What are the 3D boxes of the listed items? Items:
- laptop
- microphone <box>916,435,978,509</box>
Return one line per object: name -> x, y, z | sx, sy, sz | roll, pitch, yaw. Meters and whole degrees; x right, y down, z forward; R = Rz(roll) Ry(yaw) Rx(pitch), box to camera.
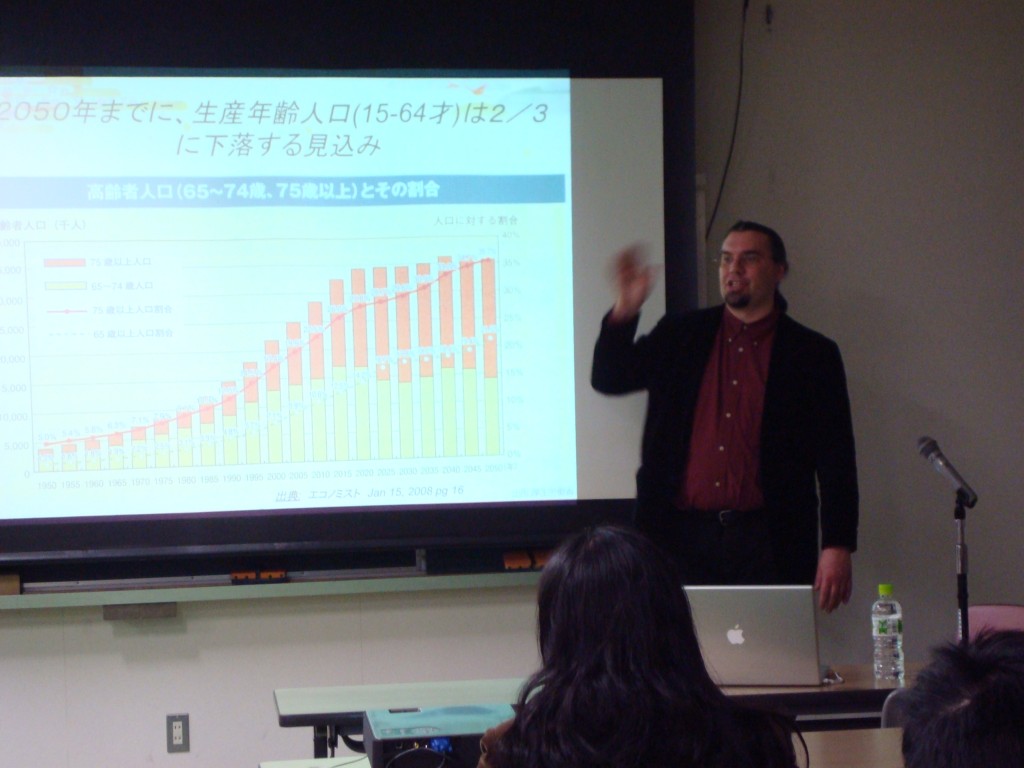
laptop -> 0.724, 0.734, 3.356 | 0.479, 0.354, 0.347 | -1, -2, 8
microphone -> 1.566, 0.316, 4.122 | 0.106, 0.290, 0.097 | -43, -26, 7
